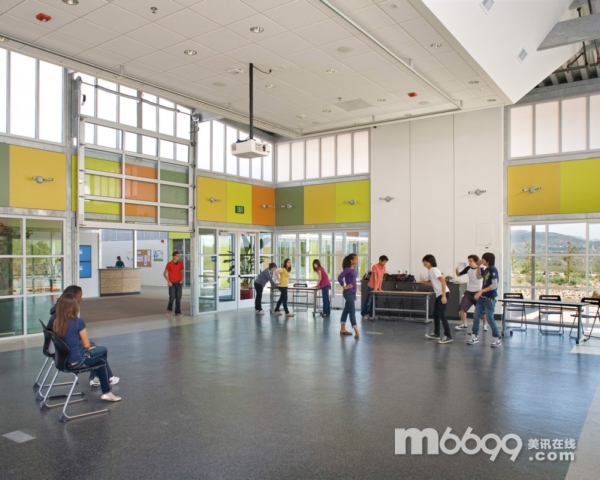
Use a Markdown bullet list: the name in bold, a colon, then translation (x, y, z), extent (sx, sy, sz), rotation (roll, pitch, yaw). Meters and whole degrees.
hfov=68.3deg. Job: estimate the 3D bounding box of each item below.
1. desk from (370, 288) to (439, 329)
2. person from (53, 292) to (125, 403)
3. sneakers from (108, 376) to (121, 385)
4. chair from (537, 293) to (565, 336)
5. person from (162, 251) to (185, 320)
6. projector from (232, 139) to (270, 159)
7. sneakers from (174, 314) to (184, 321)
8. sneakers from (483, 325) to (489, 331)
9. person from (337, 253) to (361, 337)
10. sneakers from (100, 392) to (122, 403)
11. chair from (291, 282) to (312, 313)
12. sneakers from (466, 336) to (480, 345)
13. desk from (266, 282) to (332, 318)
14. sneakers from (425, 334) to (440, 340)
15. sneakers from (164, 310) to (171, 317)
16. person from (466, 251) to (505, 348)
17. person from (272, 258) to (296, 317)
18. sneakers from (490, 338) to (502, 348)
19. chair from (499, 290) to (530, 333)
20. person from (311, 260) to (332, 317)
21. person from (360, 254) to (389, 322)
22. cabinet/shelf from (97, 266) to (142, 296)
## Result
- **desk**: translation (2.939, 1.996, 12.932), extent (1.574, 0.769, 0.770), rotation (0, -3, 16)
- **person**: translation (-2.673, 1.370, 5.444), extent (0.221, 1.462, 0.729), rotation (-2, -1, 30)
- **sneakers**: translation (-2.739, 2.075, 6.501), extent (0.078, 0.100, 0.218), rotation (1, -2, -4)
- **chair**: translation (6.101, 1.826, 10.755), extent (0.619, 0.881, 0.583), rotation (-3, 2, -45)
- **person**: translation (-4.088, 1.382, 14.305), extent (0.549, 1.985, 1.471), rotation (-1, -1, -17)
- **projector**: translation (-1.124, -2.046, 9.505), extent (0.521, 0.257, 0.528), rotation (0, -1, 39)
- **sneakers**: translation (-3.704, 2.361, 13.464), extent (0.137, 0.160, 0.395), rotation (3, -8, -37)
- **sneakers**: translation (4.684, 2.244, 11.146), extent (0.189, 0.186, 0.086), rotation (2, -2, -38)
- **person**: translation (1.166, 1.319, 10.669), extent (0.469, 1.321, 1.677), rotation (-2, -2, 6)
- **sneakers**: translation (-2.466, 2.052, 5.760), extent (0.293, 0.139, 0.105), rotation (3, -3, -7)
- **chair**: translation (-0.021, 2.069, 16.026), extent (0.870, 1.091, 0.895), rotation (0, -2, 18)
- **sneakers**: translation (3.703, 2.171, 9.518), extent (0.410, 0.253, 0.136), rotation (8, -11, -35)
- **desk**: translation (0.098, 2.138, 15.468), extent (1.673, 0.845, 0.991), rotation (-3, -7, 28)
- **sneakers**: translation (2.997, 2.211, 10.001), extent (0.251, 0.103, 0.096), rotation (2, -5, 27)
- **sneakers**: translation (-4.149, 2.317, 13.829), extent (0.198, 0.199, 0.135), rotation (3, 1, 26)
- **person**: translation (4.061, 1.273, 9.754), extent (0.635, 1.754, 1.517), rotation (-2, -2, 23)
- **person**: translation (-0.588, 1.529, 14.366), extent (0.541, 1.755, 1.558), rotation (-2, -1, -4)
- **sneakers**: translation (4.062, 2.182, 9.263), extent (0.165, 0.224, 0.483), rotation (-7, -13, 36)
- **chair**: translation (5.516, 1.882, 11.414), extent (0.724, 1.136, 0.801), rotation (5, -13, 4)
- **person**: translation (0.686, 1.518, 14.072), extent (0.431, 1.136, 1.358), rotation (-2, -2, 1)
- **person**: translation (2.211, 1.417, 12.956), extent (0.748, 1.330, 1.377), rotation (-2, -2, -6)
- **cabinet/shelf**: translation (-8.736, 1.991, 21.084), extent (1.097, 1.460, 2.060), rotation (-5, -5, 37)
